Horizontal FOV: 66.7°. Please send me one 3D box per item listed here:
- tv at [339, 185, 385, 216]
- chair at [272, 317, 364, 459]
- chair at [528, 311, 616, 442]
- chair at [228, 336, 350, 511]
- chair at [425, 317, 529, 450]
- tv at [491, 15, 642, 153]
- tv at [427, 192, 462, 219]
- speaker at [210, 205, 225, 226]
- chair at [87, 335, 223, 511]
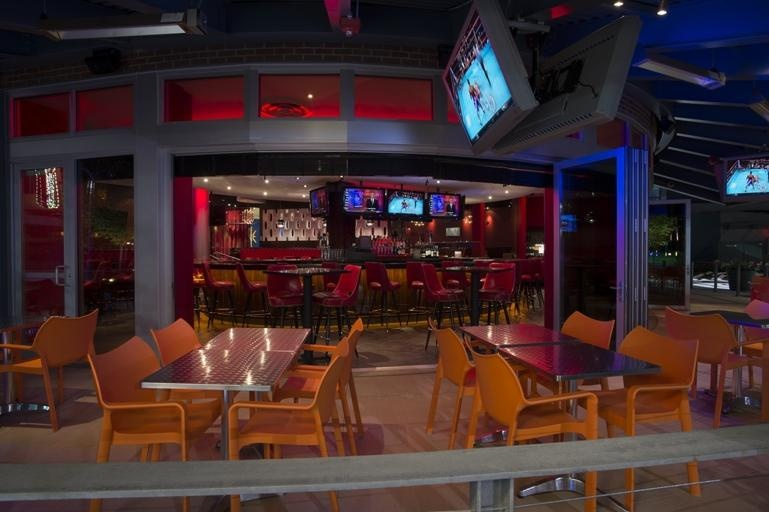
[{"bbox_3d":[-0.421,-1.164,12.187,0.899,0.530,0.186,0,1,-29],"label":"tv"},{"bbox_3d":[-0.679,1.380,6.636,1.291,1.731,1.246,2,0,4],"label":"chair"},{"bbox_3d":[2.129,1.102,6.493,1.015,1.438,0.911,4,-4,-20],"label":"chair"},{"bbox_3d":[-0.885,1.603,5.570,1.029,1.436,1.397,0,0,-3],"label":"chair"},{"bbox_3d":[0.933,1.387,6.397,0.928,1.081,0.956,5,-1,26],"label":"chair"},{"bbox_3d":[2.145,-1.956,6.909,0.382,1.159,2.030,13,-1,-13],"label":"tv"},{"bbox_3d":[1.312,-1.131,13.208,0.976,0.659,0.516,2,-4,-22],"label":"tv"},{"bbox_3d":[-4.956,-1.247,17.318,0.411,0.575,0.490,0,1,-11],"label":"speaker"},{"bbox_3d":[-2.009,1.484,5.167,1.000,1.234,1.535,-1,-3,-3],"label":"chair"}]
